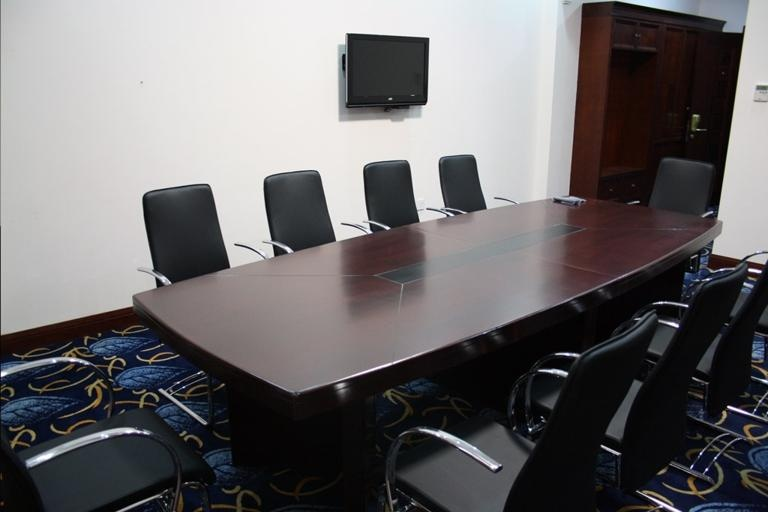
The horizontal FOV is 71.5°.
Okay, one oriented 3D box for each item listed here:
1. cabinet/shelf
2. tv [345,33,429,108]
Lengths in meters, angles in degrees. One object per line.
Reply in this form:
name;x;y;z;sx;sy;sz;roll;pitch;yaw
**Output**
cabinet/shelf;3.562;-2.161;7.452;3.204;3.426;0.791;-9;15;-40
tv;0.046;-2.023;5.807;1.122;0.726;0.211;-18;26;-39
